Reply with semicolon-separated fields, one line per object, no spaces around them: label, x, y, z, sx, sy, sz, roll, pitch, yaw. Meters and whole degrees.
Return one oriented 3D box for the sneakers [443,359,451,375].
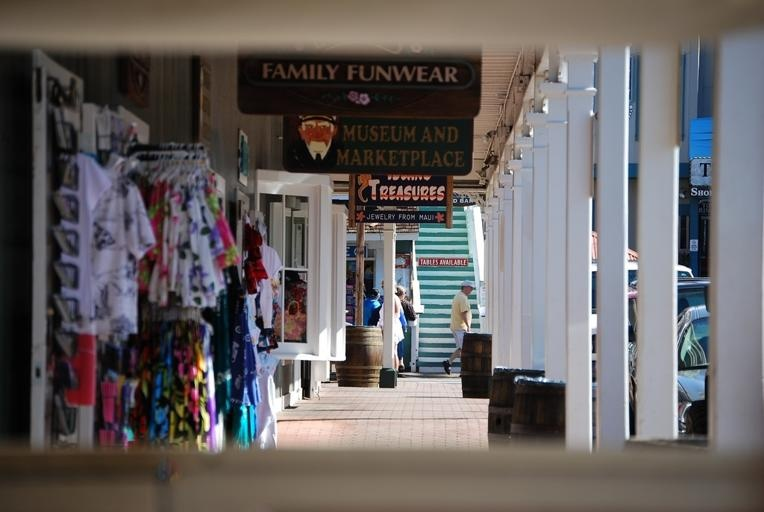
sneakers;0.998;1.793;17.796;0.113;0.313;0.099;-5;16;14

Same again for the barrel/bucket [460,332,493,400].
barrel/bucket;0.971;1.163;11.997;0.298;0.694;0.342;1;-1;4

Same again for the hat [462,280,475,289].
hat;1.438;0.489;19.386;0.217;0.143;0.170;-6;7;7

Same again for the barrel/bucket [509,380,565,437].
barrel/bucket;0.899;0.908;6.858;0.291;0.327;0.292;3;-7;0

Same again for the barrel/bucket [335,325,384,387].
barrel/bucket;-0.243;1.202;13.729;0.555;0.952;0.675;1;2;5

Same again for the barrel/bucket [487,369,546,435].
barrel/bucket;0.848;0.959;7.448;0.331;0.430;0.385;1;-8;-1
